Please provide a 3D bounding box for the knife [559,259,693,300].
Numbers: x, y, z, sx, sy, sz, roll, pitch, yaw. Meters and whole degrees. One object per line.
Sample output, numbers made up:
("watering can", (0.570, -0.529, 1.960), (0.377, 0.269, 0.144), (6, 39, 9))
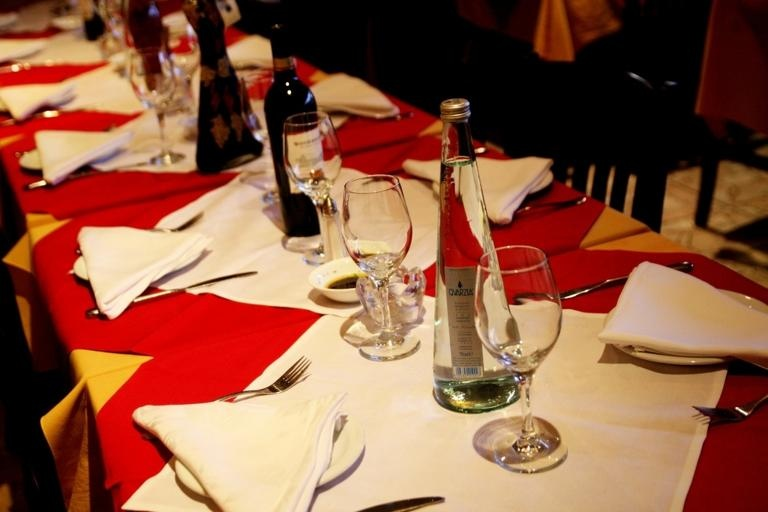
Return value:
("knife", (0.481, 0.050, 1.220), (0.266, 0.027, 0.027), (-10, 55, -3))
